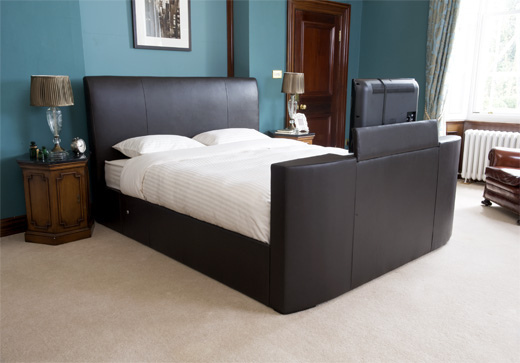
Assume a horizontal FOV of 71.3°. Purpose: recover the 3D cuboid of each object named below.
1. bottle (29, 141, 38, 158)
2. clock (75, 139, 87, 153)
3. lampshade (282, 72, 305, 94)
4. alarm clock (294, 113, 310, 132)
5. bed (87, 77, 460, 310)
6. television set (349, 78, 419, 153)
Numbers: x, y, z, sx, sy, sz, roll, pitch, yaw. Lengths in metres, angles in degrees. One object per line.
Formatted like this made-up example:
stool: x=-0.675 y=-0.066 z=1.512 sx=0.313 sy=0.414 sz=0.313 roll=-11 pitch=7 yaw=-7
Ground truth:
bottle: x=-2.296 y=-0.336 z=3.662 sx=0.071 sy=0.138 sz=0.139 roll=-11 pitch=18 yaw=-31
clock: x=-1.882 y=-0.378 z=3.791 sx=0.055 sy=0.143 sz=0.109 roll=11 pitch=19 yaw=39
lampshade: x=0.472 y=-1.381 z=5.133 sx=0.283 sy=0.256 sz=0.292 roll=2 pitch=10 yaw=-2
alarm clock: x=0.595 y=-0.871 z=5.255 sx=0.202 sy=0.300 sz=0.073 roll=-2 pitch=-17 yaw=-23
bed: x=0.019 y=-0.341 z=4.114 sx=2.654 sy=1.713 sz=3.278 roll=-12 pitch=19 yaw=-41
television set: x=1.092 y=-0.574 z=3.051 sx=0.734 sy=0.578 sz=0.096 roll=-11 pitch=19 yaw=-29
